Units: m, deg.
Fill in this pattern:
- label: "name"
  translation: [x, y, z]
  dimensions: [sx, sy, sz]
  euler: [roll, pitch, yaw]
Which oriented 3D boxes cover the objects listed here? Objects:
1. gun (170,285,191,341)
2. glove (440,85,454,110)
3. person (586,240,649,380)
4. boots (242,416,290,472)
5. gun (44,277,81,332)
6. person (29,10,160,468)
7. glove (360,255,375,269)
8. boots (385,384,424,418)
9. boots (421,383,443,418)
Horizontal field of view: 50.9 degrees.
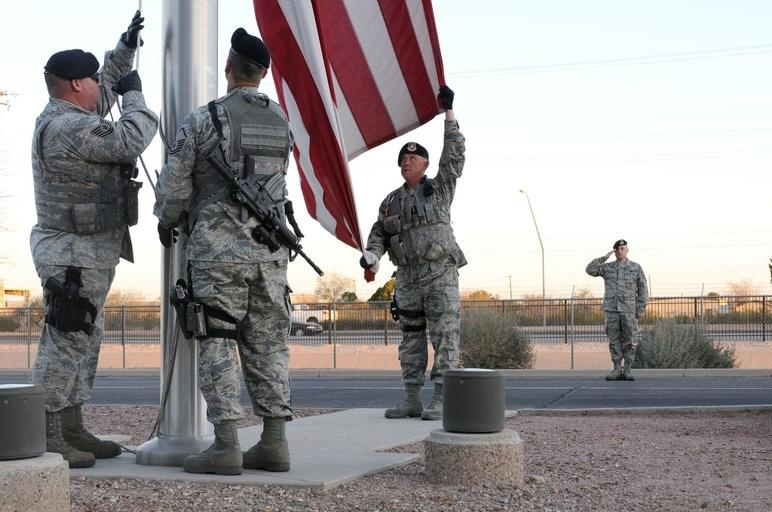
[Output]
- label: "gun"
  translation: [-1.519, 0.407, 6.092]
  dimensions: [0.113, 0.368, 0.223]
  euler: [-4, 5, -3]
- label: "glove"
  translation: [0.622, -1.647, 8.425]
  dimensions: [0.169, 0.258, 0.172]
  euler: [-1, -3, 25]
- label: "person"
  translation: [4.363, 1.030, 15.205]
  dimensions: [0.940, 2.646, 0.945]
  euler: [-1, -3, 8]
- label: "boots"
  translation: [-0.990, 1.457, 6.410]
  dimensions: [0.462, 0.456, 0.201]
  euler: [-5, -7, 25]
- label: "gun"
  translation: [-2.505, 0.376, 6.298]
  dimensions: [0.255, 0.417, 0.086]
  euler: [0, -3, 4]
- label: "person"
  translation: [-2.362, 0.013, 6.511]
  dimensions: [0.933, 3.321, 0.605]
  euler: [0, -3, 1]
- label: "glove"
  translation: [-0.209, 0.066, 8.475]
  dimensions: [0.138, 0.141, 0.286]
  euler: [-1, -3, 18]
- label: "boots"
  translation: [0.223, 1.656, 9.348]
  dimensions: [0.495, 0.391, 0.193]
  euler: [3, -6, -23]
- label: "boots"
  translation: [0.561, 1.628, 9.154]
  dimensions: [0.202, 0.402, 0.466]
  euler: [-4, -6, 25]
